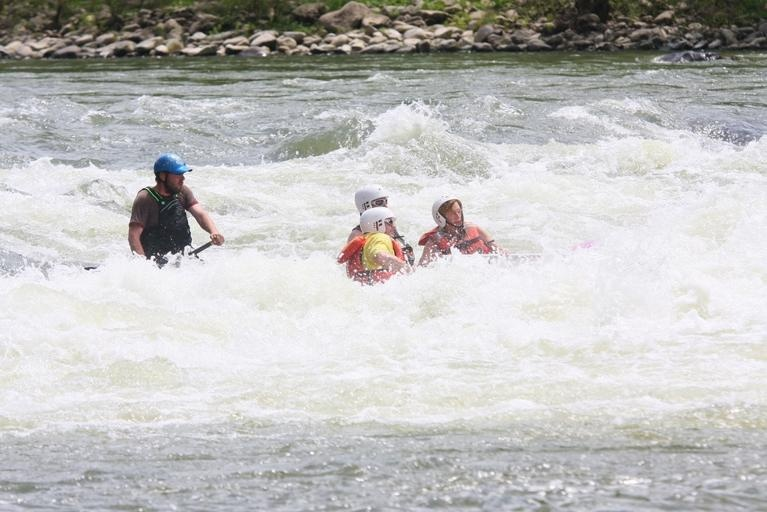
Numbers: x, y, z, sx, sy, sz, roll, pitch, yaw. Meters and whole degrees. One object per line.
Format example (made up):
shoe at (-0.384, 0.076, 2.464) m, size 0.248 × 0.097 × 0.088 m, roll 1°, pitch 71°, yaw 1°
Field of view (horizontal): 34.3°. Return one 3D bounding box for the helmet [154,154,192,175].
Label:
helmet at (-3.733, -1.581, 21.683) m, size 0.681 × 0.246 × 0.383 m, roll -4°, pitch 15°, yaw -3°

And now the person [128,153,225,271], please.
person at (-3.697, -0.849, 21.603) m, size 1.447 × 1.775 × 0.691 m, roll 0°, pitch 10°, yaw -11°
